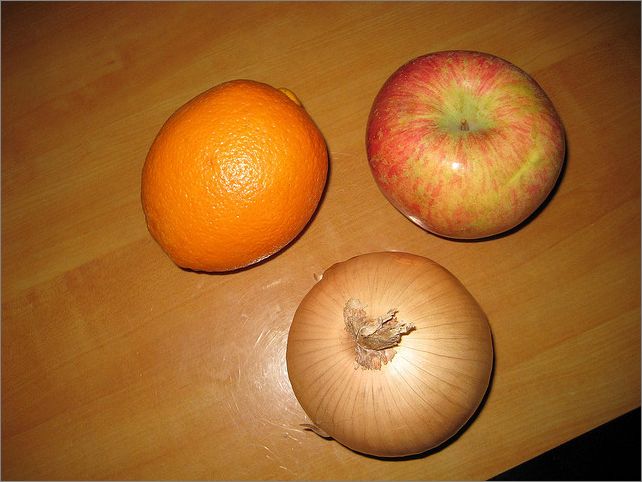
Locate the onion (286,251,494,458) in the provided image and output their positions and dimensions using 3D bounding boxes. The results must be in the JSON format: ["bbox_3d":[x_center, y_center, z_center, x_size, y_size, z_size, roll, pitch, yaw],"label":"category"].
[{"bbox_3d":[0.111,0.186,0.994,0.332,0.187,0.288,-10,-66,11],"label":"onion"}]

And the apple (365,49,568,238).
[{"bbox_3d":[0.246,-0.162,1.061,0.319,0.357,0.208,-17,-25,-1],"label":"apple"}]
